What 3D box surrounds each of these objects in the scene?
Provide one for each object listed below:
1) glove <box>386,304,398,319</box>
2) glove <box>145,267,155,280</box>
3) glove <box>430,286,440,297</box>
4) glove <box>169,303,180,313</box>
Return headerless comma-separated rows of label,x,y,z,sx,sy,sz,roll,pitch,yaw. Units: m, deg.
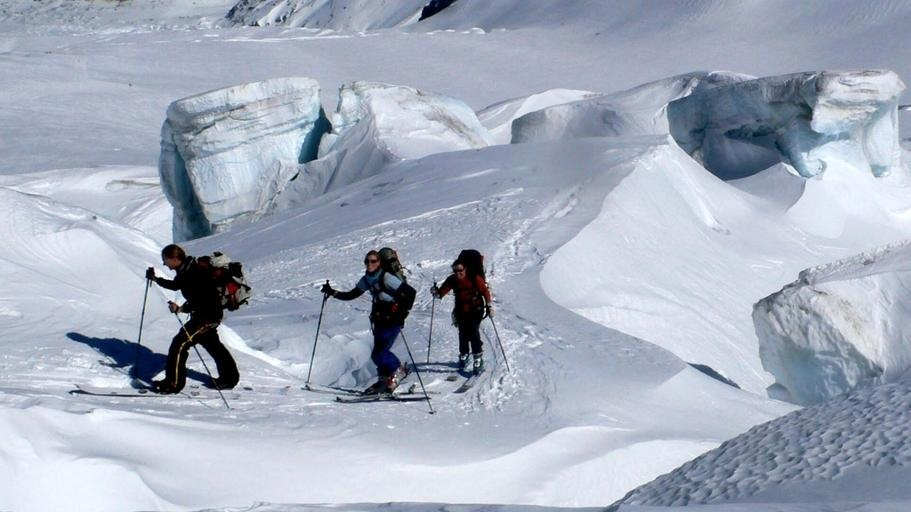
glove,-3.200,2.825,61.431,0.544,0.589,0.217,10,0,0
glove,-15.476,0.903,60.393,0.541,0.602,0.628,3,-10,-8
glove,-1.005,1.852,61.440,0.464,0.556,0.299,2,28,10
glove,-14.416,2.595,60.479,0.456,0.225,0.654,-4,13,-44
